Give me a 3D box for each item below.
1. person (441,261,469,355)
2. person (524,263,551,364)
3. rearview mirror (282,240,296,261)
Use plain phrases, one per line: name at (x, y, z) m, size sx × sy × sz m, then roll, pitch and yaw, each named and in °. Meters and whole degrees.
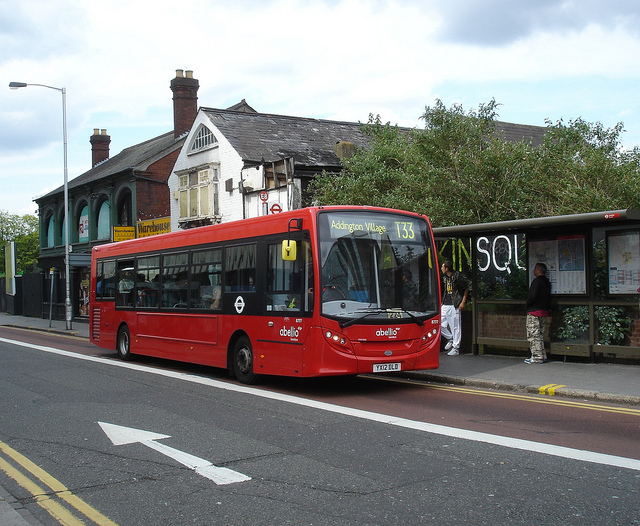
person at (3.356, 1.102, 14.852) m, size 0.694 × 1.674 × 0.538 m, roll -2°, pitch -1°, yaw 27°
person at (4.676, 1.067, 12.787) m, size 0.546 × 1.750 × 0.496 m, roll -1°, pitch -1°, yaw 7°
rearview mirror at (-0.518, -0.222, 10.156) m, size 0.274 × 0.429 × 0.096 m, roll 3°, pitch -12°, yaw -18°
